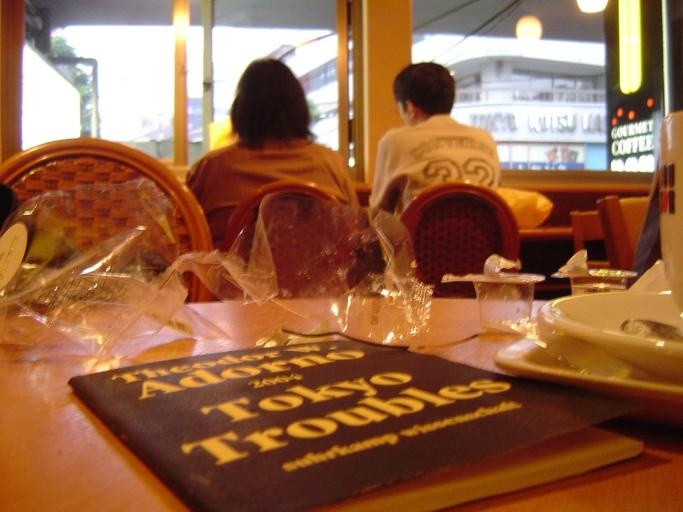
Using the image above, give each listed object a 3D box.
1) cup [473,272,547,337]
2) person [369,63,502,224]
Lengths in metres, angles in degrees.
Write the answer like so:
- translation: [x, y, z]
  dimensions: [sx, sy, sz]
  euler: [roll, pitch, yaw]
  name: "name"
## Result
- translation: [0.173, 0.048, 0.558]
  dimensions: [0.058, 0.043, 0.059]
  euler: [-2, -1, 0]
  name: "cup"
- translation: [0.364, -0.345, 2.107]
  dimensions: [0.474, 0.808, 0.423]
  euler: [-2, -8, -6]
  name: "person"
